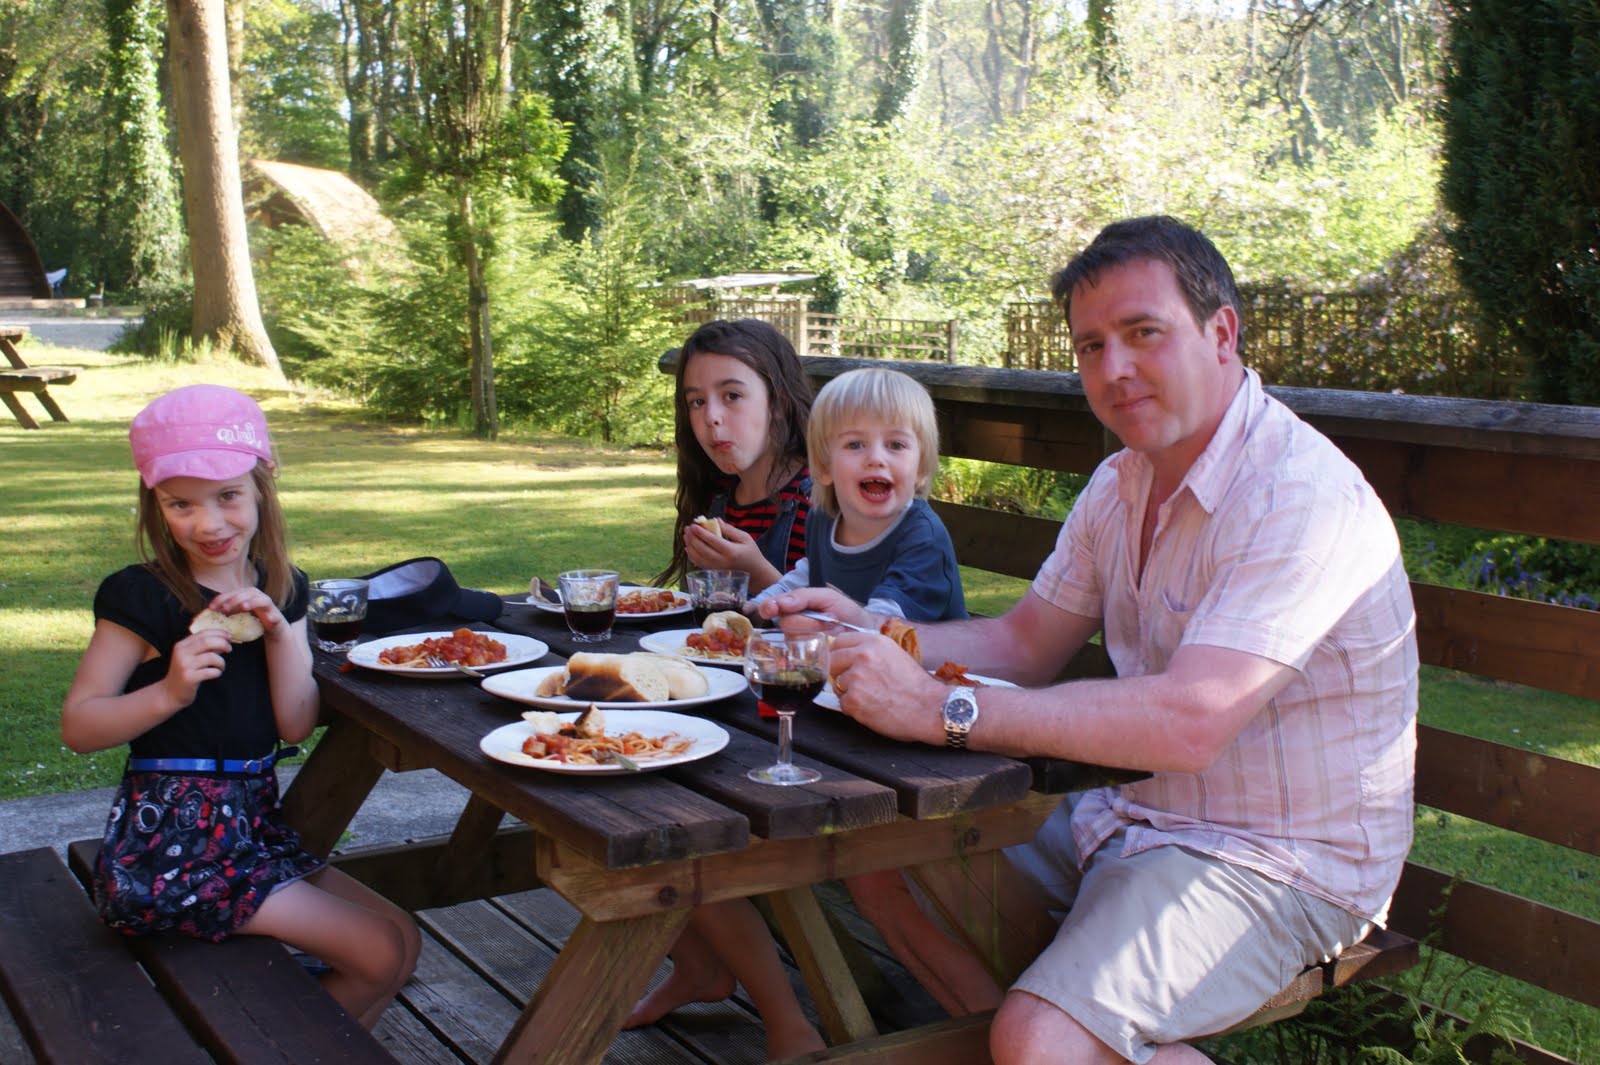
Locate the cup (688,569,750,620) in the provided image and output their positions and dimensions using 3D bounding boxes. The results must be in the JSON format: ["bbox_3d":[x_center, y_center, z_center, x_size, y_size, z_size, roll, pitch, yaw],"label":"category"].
[{"bbox_3d":[-0.202,0.144,2.783,0.118,0.096,0.112,-2,1,0],"label":"cup"}]

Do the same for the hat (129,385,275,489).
[{"bbox_3d":[-1.305,-0.220,2.530,0.279,0.174,0.359,-6,10,-15],"label":"hat"}]

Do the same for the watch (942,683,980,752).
[{"bbox_3d":[0.286,0.326,2.127,0.053,0.095,0.107,11,1,7],"label":"watch"}]

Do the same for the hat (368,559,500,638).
[{"bbox_3d":[-0.913,0.159,2.866,0.291,0.100,0.175,1,15,-23],"label":"hat"}]

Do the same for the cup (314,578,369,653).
[{"bbox_3d":[-1.067,0.188,2.669,0.147,0.148,0.144,1,1,0],"label":"cup"}]
